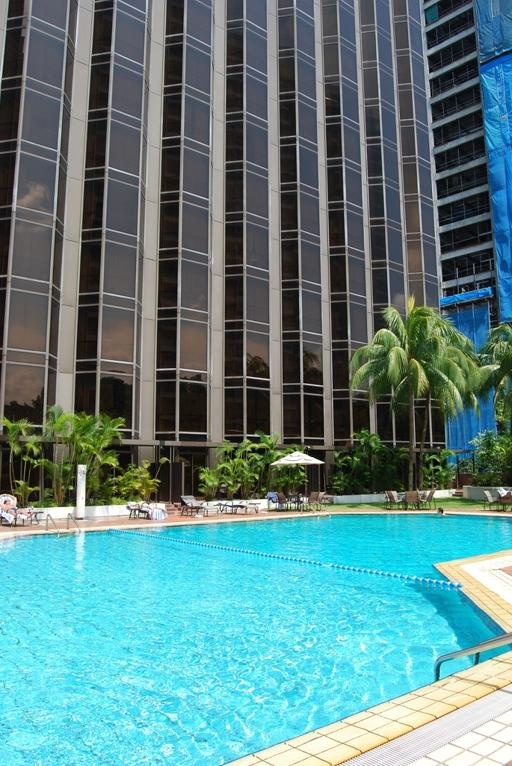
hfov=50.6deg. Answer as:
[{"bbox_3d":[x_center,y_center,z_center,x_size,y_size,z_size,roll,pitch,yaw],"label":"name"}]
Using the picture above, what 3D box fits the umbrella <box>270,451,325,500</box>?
[{"bbox_3d":[1.904,4.476,26.203,2.408,1.297,2.666,-4,-3,-8],"label":"umbrella"}]
